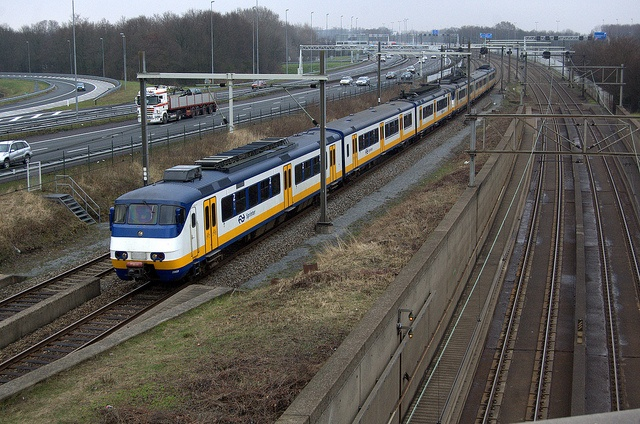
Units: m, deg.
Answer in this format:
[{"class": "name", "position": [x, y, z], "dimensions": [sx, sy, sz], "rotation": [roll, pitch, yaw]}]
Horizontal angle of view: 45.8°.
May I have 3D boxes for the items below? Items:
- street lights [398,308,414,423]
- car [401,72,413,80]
[{"class": "street lights", "position": [3.539, 6.480, 31.327], "dimensions": [0.462, 5.579, 0.820], "rotation": [1, -4, 2]}, {"class": "car", "position": [12.239, -19.288, 106.156], "dimensions": [0.997, 0.837, 2.365], "rotation": [0, 15, 14]}]
